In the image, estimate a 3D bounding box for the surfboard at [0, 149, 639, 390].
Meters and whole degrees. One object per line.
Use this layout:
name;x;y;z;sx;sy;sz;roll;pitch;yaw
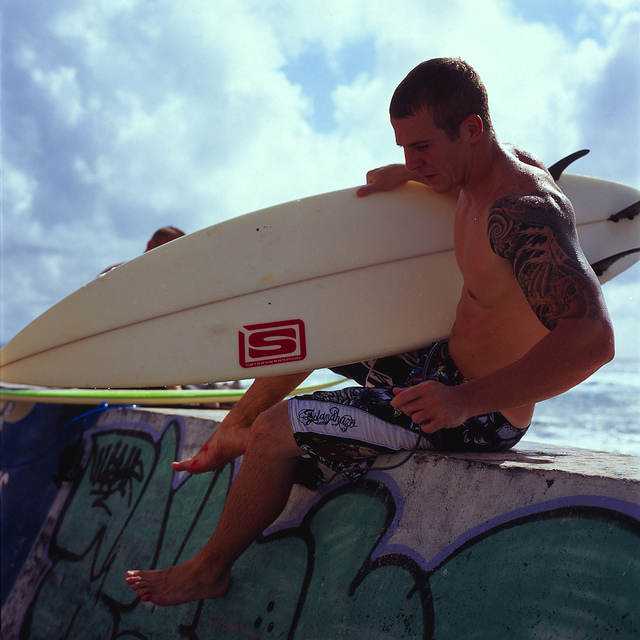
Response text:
surfboard;0.091;-0.095;2.780;2.380;0.492;0.269;-11;-17;-1
